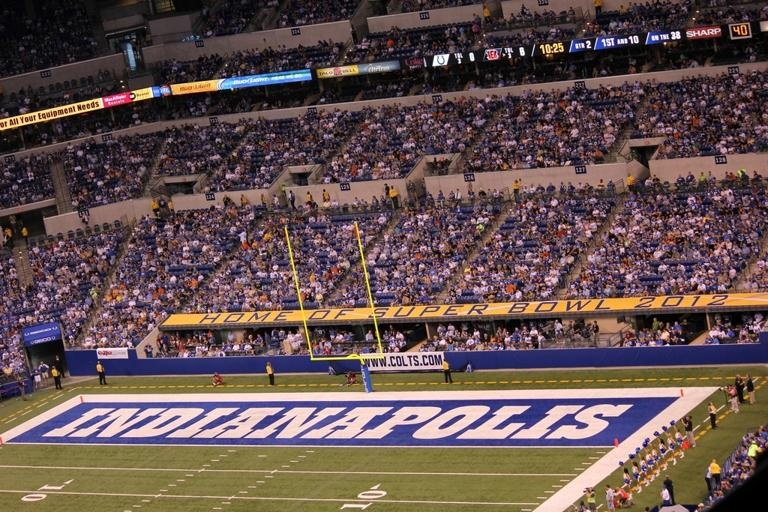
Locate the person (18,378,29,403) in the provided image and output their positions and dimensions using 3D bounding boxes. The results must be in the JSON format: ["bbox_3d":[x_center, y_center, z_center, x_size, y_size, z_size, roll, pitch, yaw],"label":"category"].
[{"bbox_3d":[-18.178,6.683,64.084,0.412,0.945,1.066,-14,14,-17],"label":"person"}]
